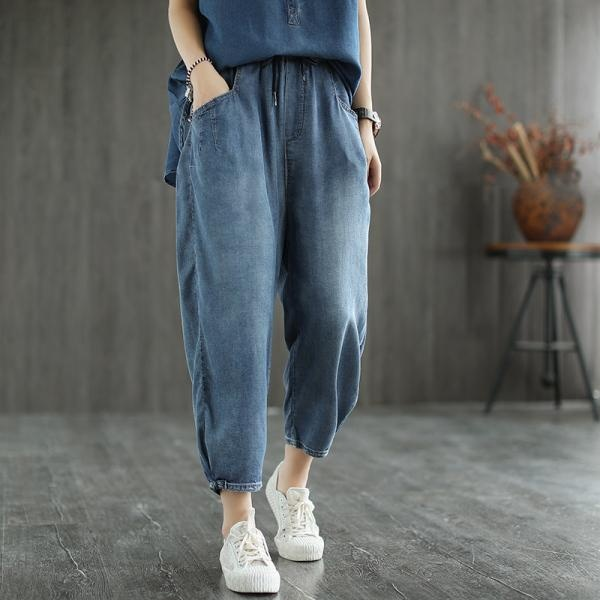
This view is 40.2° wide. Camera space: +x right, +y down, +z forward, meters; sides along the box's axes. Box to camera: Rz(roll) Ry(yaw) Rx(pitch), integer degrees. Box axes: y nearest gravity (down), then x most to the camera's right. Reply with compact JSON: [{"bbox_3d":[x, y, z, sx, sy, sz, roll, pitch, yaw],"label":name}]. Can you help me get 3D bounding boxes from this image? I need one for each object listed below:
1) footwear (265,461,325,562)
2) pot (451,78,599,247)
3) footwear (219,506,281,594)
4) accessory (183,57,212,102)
[{"bbox_3d":[-0.017,0.468,1.786,0.064,0.077,0.184,1,19,-13],"label":"footwear"},{"bbox_3d":[0.815,-0.349,3.069,0.565,0.698,0.445,-1,-3,-1],"label":"pot"},{"bbox_3d":[-0.100,0.487,1.631,0.118,0.128,0.108,-1,3,-6],"label":"footwear"},{"bbox_3d":[-0.220,-0.403,1.728,0.056,0.077,0.019,2,18,-36],"label":"accessory"}]
